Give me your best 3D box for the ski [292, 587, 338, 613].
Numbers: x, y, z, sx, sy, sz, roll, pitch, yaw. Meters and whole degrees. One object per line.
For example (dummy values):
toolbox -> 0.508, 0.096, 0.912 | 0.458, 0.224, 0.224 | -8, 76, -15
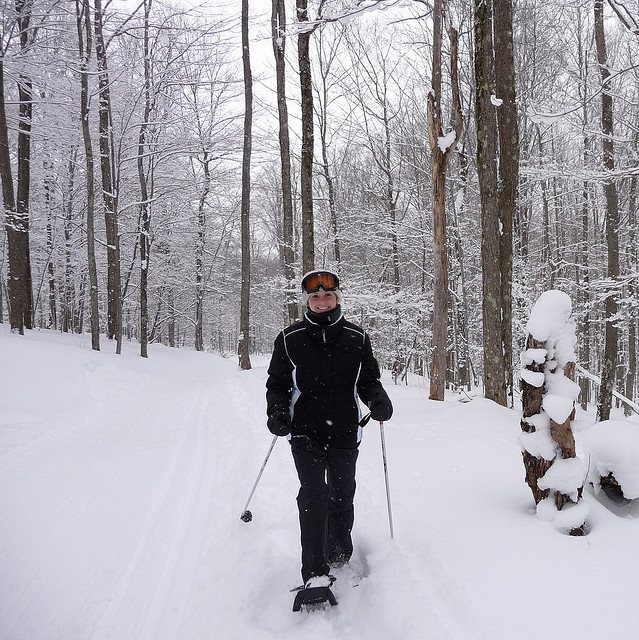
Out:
ski -> -0.061, 2.674, 7.097 | 0.246, 0.144, 0.289 | -6, -13, 9

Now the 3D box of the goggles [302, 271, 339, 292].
goggles -> 0.013, -0.385, 7.434 | 0.367, 0.205, 0.119 | -1, 2, -4

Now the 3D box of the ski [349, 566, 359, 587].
ski -> 0.350, 2.578, 7.400 | 0.064, 0.122, 0.207 | -1, 2, -7

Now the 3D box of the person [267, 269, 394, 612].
person -> 0.058, 1.164, 7.299 | 1.138, 3.304, 0.524 | -1, 2, -8
